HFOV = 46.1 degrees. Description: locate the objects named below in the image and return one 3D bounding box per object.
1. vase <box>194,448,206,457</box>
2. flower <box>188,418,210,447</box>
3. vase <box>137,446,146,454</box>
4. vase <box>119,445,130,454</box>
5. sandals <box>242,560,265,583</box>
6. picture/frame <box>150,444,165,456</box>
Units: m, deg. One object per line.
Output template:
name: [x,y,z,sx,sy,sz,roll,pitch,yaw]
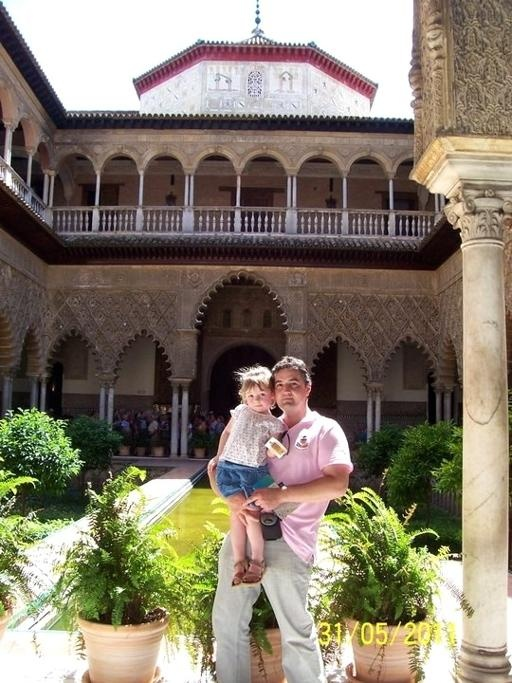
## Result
vase: [-1.263,2.530,13.743,0.283,0.224,0.242,3,-11,-19]
flower: [-1.327,2.148,13.980,0.318,0.443,0.375,-21,-25,-2]
vase: [-2.737,2.573,14.323,0.163,0.125,0.158,2,-16,0]
vase: [-3.148,2.582,14.398,0.241,0.222,0.290,2,-10,-14]
sandals: [-0.008,0.717,1.884,0.055,0.038,0.139,-1,-9,3]
picture/frame: [-2.311,2.558,14.231,0.242,0.176,0.238,5,-12,-17]
